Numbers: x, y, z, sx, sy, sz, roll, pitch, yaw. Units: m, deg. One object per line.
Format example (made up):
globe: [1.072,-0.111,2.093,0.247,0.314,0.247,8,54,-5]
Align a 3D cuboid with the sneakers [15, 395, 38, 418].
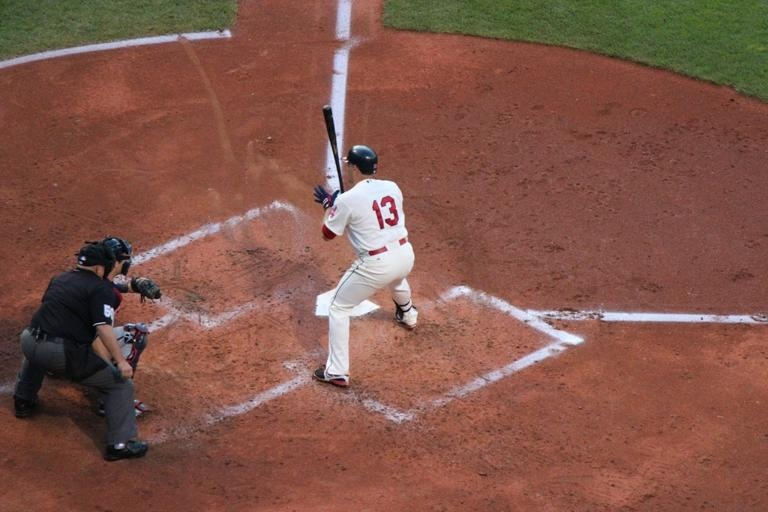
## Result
sneakers: [-4.447,1.887,11.077,0.156,0.146,0.351,8,18,12]

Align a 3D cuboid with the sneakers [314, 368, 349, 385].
sneakers: [-0.722,1.634,12.028,0.474,0.181,0.188,16,16,13]

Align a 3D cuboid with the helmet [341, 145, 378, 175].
helmet: [-0.263,-1.292,11.839,0.307,0.416,0.375,-37,54,-21]

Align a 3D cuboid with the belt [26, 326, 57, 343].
belt: [-4.176,0.946,10.728,0.210,0.088,0.197,24,1,-5]

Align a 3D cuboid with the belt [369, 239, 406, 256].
belt: [0.089,-0.097,11.839,0.346,0.080,0.266,-12,7,45]

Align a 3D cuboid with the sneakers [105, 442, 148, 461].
sneakers: [-3.155,2.398,10.896,0.521,0.182,0.208,-7,33,-13]

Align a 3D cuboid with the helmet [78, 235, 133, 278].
helmet: [-3.437,-0.026,11.032,0.685,0.463,0.419,-15,61,-6]
